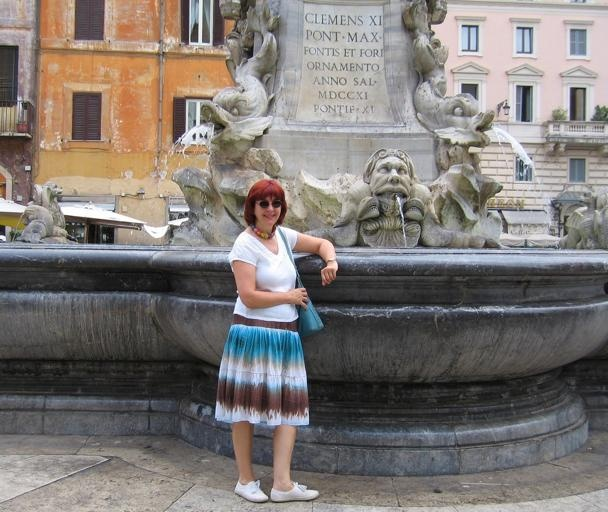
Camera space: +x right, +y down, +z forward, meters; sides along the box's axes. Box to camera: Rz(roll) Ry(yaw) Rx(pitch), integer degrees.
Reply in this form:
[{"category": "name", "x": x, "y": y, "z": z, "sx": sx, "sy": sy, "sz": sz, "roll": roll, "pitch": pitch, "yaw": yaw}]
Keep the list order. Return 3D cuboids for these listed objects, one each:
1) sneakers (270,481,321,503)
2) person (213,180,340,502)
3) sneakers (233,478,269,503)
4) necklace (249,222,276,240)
[{"category": "sneakers", "x": -0.076, "y": 2.009, "z": 9.709, "sx": 0.429, "sy": 0.162, "sz": 0.154, "roll": 0, "pitch": -1, "yaw": -11}, {"category": "person", "x": -0.265, "y": 0.716, "z": 9.667, "sx": 0.984, "sy": 2.705, "sz": 0.465, "roll": -2, "pitch": 6, "yaw": -14}, {"category": "sneakers", "x": -0.446, "y": 1.993, "z": 9.682, "sx": 0.267, "sy": 0.109, "sz": 0.150, "roll": 9, "pitch": 1, "yaw": 32}, {"category": "necklace", "x": -0.340, "y": -0.208, "z": 9.647, "sx": 0.237, "sy": 0.153, "sz": 0.119, "roll": -2, "pitch": 6, "yaw": -13}]
